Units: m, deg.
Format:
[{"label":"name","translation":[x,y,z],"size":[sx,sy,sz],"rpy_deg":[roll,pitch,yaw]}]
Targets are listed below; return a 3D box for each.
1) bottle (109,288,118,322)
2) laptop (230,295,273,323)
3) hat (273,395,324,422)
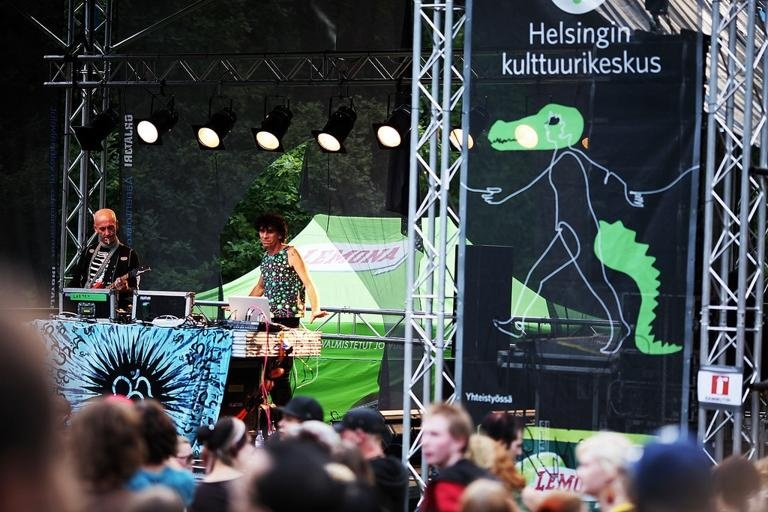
[{"label":"bottle","translation":[-3.153,0.555,21.762],"size":[0.082,0.279,0.276],"rpy_deg":[1,32,-21]},{"label":"laptop","translation":[-1.527,0.598,21.330],"size":[0.429,0.271,0.294],"rpy_deg":[2,7,10]},{"label":"hat","translation":[-0.849,1.571,19.303],"size":[0.374,0.191,0.257],"rpy_deg":[5,-6,-1]}]
